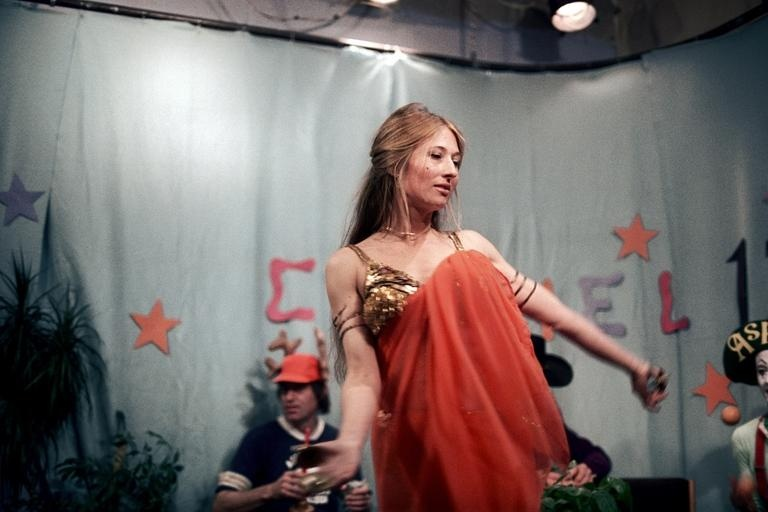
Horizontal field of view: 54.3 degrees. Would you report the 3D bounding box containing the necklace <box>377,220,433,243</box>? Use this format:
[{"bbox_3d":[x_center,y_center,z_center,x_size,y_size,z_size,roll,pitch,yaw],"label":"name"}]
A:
[{"bbox_3d":[0.081,-0.097,3.128,0.129,0.058,0.100,-5,-1,32],"label":"necklace"}]

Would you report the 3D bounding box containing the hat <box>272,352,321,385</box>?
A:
[{"bbox_3d":[-0.388,0.518,3.463,0.177,0.089,0.131,9,-14,-43],"label":"hat"}]
